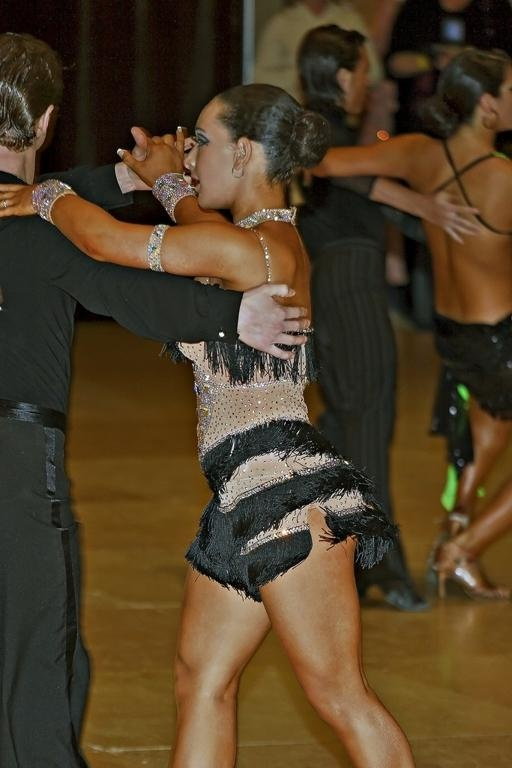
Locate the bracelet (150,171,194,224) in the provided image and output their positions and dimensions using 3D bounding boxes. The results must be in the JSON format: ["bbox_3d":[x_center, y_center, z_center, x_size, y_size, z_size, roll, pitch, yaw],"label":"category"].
[{"bbox_3d":[-0.149,-0.335,1.414,0.082,0.094,0.050,-12,36,-12],"label":"bracelet"}]

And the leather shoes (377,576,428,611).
[{"bbox_3d":[0.522,0.750,2.791,0.157,0.059,0.094,33,71,24],"label":"leather shoes"}]
